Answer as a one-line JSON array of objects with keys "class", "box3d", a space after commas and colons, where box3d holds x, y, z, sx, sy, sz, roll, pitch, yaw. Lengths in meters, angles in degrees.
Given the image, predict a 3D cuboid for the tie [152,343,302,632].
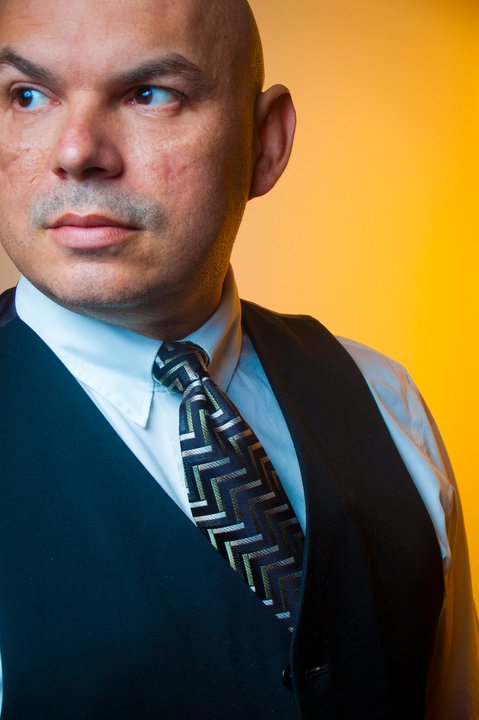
[{"class": "tie", "box3d": [-0.023, 0.114, 0.757, 0.089, 0.324, 0.028, 11, -41, -43]}]
